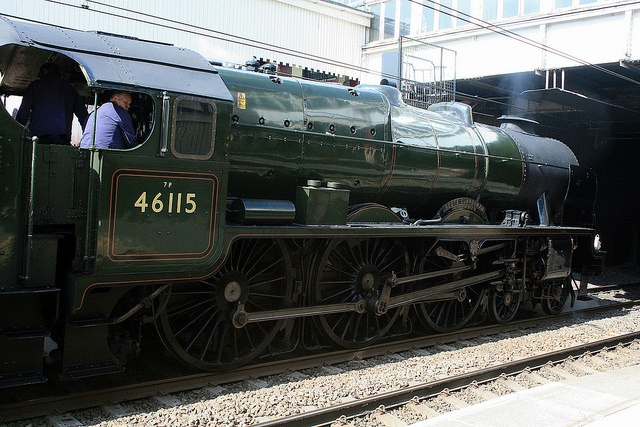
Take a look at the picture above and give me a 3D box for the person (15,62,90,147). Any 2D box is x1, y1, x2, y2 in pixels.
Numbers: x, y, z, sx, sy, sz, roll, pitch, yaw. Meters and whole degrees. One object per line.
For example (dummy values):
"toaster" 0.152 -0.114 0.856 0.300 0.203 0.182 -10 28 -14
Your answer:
"person" -3.588 -1.451 6.432 0.863 1.107 0.533 1 4 -17

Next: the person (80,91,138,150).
"person" -2.680 -1.181 6.139 0.659 0.778 0.639 0 5 -26
